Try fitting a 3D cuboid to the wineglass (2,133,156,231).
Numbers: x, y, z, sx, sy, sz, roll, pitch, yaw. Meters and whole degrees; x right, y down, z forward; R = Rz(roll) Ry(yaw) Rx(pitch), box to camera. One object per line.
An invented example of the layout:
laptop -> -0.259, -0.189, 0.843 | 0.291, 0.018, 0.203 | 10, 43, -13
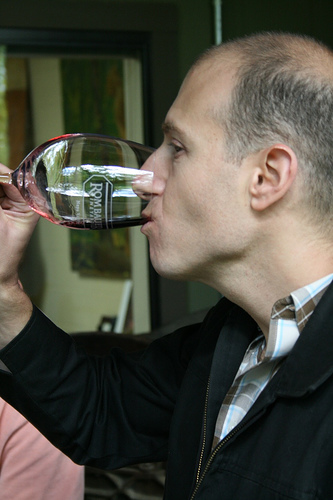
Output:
wineglass -> -0.130, -0.110, 0.898 | 0.225, 0.166, 0.144 | -27, 53, 31
